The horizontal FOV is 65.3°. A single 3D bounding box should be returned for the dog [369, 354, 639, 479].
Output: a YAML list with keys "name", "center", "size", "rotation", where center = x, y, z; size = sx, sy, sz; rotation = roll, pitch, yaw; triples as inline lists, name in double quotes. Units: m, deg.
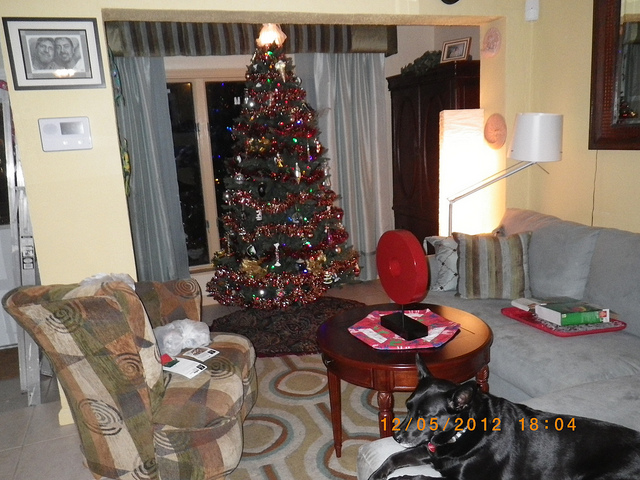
- name: "dog"
  center: [0.676, 0.728, 2.082]
  size: [1.139, 0.546, 0.401]
  rotation: [3, 13, 10]

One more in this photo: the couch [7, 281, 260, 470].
- name: "couch"
  center: [-0.771, 0.584, 2.745]
  size: [1.213, 1.045, 1.108]
  rotation: [-3, 18, -13]

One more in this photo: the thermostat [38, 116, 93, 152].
- name: "thermostat"
  center: [-1.561, -0.655, 3.089]
  size: [0.302, 0.205, 0.027]
  rotation: [-4, 13, -5]

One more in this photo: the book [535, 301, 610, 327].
- name: "book"
  center: [1.454, 0.416, 2.853]
  size: [0.197, 0.043, 0.188]
  rotation: [-3, 7, -12]
